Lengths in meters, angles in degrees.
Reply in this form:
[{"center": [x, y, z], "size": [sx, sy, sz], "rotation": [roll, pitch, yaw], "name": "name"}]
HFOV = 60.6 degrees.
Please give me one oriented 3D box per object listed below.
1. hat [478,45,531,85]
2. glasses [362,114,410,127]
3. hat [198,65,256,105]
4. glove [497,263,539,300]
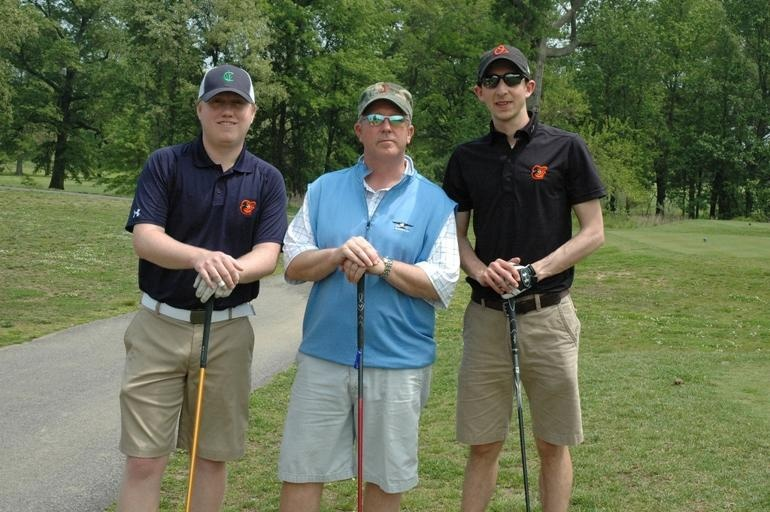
[{"center": [1.157, -1.893, 6.442], "size": [0.336, 0.295, 0.476], "rotation": [-2, -13, 14], "name": "hat"}, {"center": [0.001, -1.220, 5.916], "size": [0.400, 0.111, 0.057], "rotation": [3, 3, -2], "name": "glasses"}, {"center": [-1.468, -1.588, 6.172], "size": [0.336, 0.244, 0.462], "rotation": [-1, 7, -11], "name": "hat"}, {"center": [1.244, 0.274, 6.172], "size": [0.355, 0.270, 0.140], "rotation": [-31, -62, 36], "name": "glove"}]
